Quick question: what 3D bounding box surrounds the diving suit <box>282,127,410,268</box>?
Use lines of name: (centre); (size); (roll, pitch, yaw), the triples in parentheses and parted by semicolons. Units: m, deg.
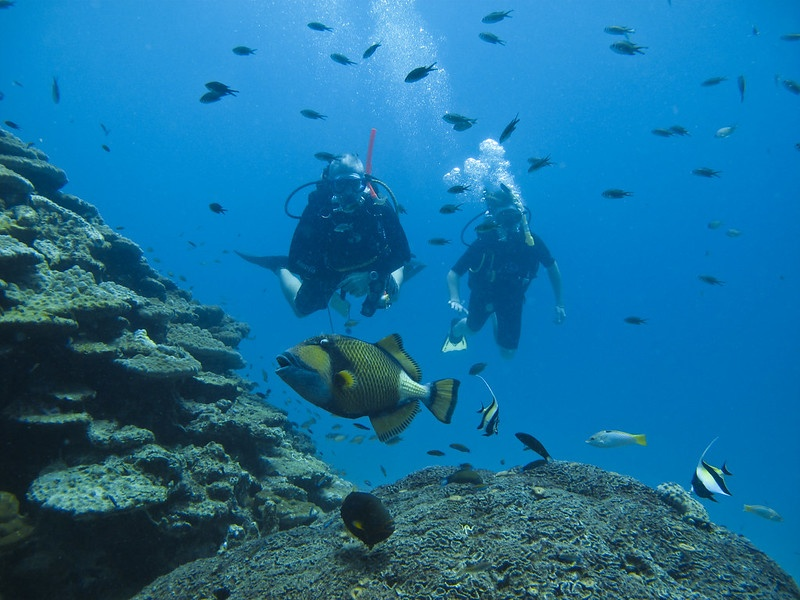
diving suit: (-0.891, -1.254, 13.448); (1.891, 2.567, 1.567); (3, 25, -4)

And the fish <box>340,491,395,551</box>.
fish: (-0.374, 2.492, 9.470); (0.642, 0.515, 0.510); (40, 9, 1)

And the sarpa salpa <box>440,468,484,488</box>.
sarpa salpa: (0.872, 2.341, 10.560); (0.645, 0.298, 0.190); (-3, -8, 10)

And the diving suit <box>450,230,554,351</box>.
diving suit: (2.191, -0.420, 16.841); (1.832, 3.286, 0.971); (3, 42, 1)

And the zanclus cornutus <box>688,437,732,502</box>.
zanclus cornutus: (4.082, 2.357, 10.693); (0.774, 0.748, 0.163); (-16, 0, -16)
